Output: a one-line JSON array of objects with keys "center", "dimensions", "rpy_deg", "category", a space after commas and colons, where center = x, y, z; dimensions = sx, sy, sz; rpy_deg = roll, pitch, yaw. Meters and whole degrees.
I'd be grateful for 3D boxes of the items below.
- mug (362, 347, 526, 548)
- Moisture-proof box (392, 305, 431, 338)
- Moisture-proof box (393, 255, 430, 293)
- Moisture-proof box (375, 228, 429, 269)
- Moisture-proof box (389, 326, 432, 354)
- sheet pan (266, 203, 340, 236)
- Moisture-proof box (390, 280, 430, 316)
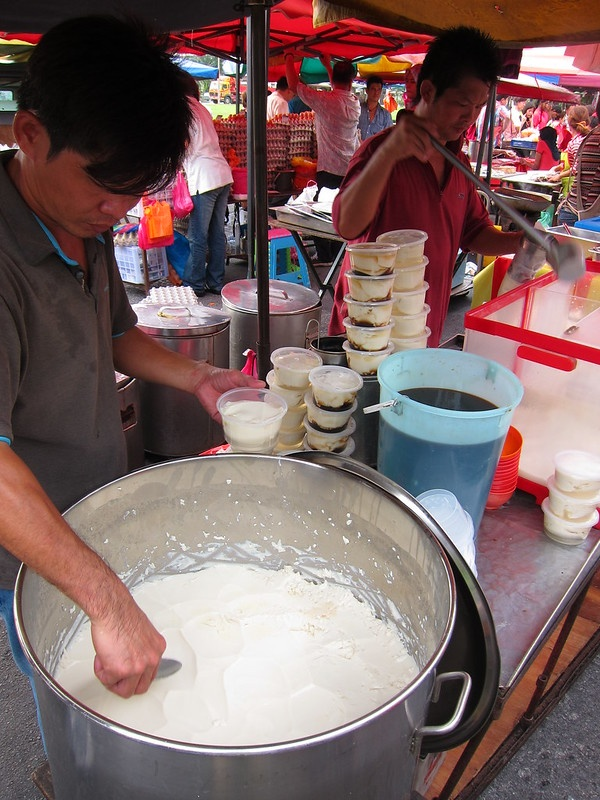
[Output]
[{"center": [0.288, 0.095, 1.253], "dimensions": [0.357, 0.341, 0.256], "rpy_deg": [-8, 37, -11], "category": "mug"}, {"center": [0.283, -0.200, 1.637], "dimensions": [0.099, 0.042, 0.091], "rpy_deg": [0, 20, 6], "category": "Moisture-proof box"}, {"center": [0.284, -0.309, 1.637], "dimensions": [0.099, 0.057, 0.091], "rpy_deg": [-13, 32, -10], "category": "Moisture-proof box"}, {"center": [0.249, -0.396, 1.631], "dimensions": [0.126, 0.068, 0.125], "rpy_deg": [-25, 34, -38], "category": "Moisture-proof box"}, {"center": [0.282, -0.167, 1.648], "dimensions": [0.089, 0.028, 0.089], "rpy_deg": [-3, 20, -3], "category": "Moisture-proof box"}, {"center": [0.042, -1.260, 4.510], "dimensions": [0.436, 0.094, 0.591], "rpy_deg": [-21, 36, -31], "category": "sheet pan"}, {"center": [0.277, -0.258, 1.622], "dimensions": [0.093, 0.047, 0.085], "rpy_deg": [-2, 21, 1], "category": "Moisture-proof box"}]
